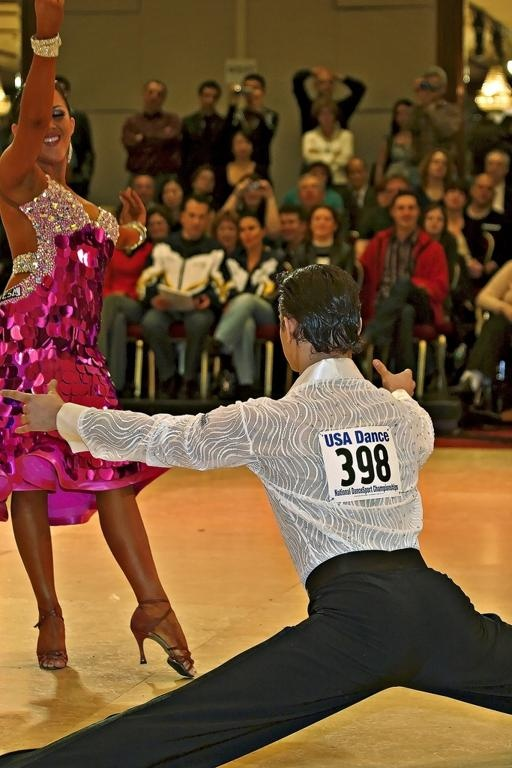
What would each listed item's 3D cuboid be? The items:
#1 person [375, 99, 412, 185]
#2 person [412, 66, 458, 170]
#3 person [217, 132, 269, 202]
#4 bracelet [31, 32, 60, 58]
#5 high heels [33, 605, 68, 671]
[{"bbox_3d":[1.351,-2.477,7.167,0.398,0.804,0.271,-2,1,17],"label":"person"},{"bbox_3d":[1.781,-2.714,7.202,0.476,1.009,0.325,-2,1,8],"label":"person"},{"bbox_3d":[-0.131,-2.212,7.042,0.445,0.721,0.643,-2,1,1],"label":"person"},{"bbox_3d":[-0.443,-0.714,1.519,0.063,0.041,0.058,0,12,-2],"label":"bracelet"},{"bbox_3d":[-0.504,0.645,1.800,0.062,0.065,0.170,-3,11,-8],"label":"high heels"}]
